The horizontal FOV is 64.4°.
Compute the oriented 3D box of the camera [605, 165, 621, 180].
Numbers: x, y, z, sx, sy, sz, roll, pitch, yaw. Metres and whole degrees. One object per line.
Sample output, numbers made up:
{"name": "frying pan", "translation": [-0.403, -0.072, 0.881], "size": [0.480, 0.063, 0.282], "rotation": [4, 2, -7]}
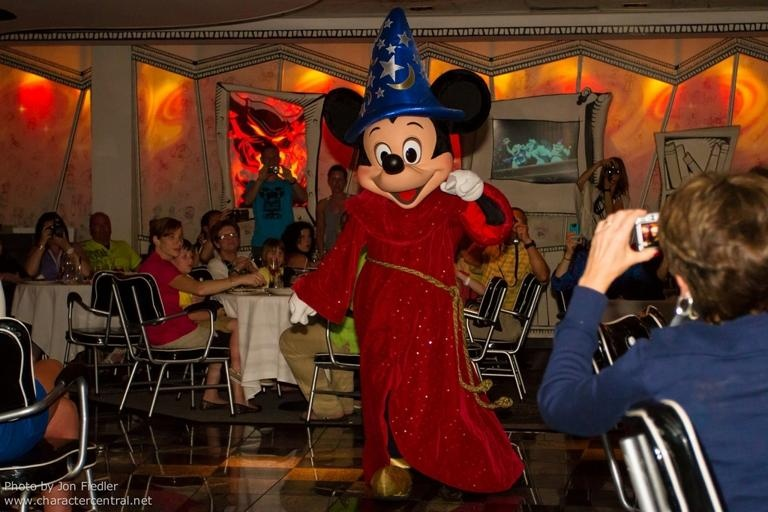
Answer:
{"name": "camera", "translation": [2.700, -0.999, 7.203], "size": [0.144, 0.146, 0.054], "rotation": [-1, 34, 11]}

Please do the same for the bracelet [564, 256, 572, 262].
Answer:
{"name": "bracelet", "translation": [1.365, 0.025, 4.484], "size": [0.048, 0.036, 0.049], "rotation": [0, 1, -1]}

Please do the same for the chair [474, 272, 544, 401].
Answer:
{"name": "chair", "translation": [0.936, 0.630, 5.000], "size": [0.631, 0.914, 0.636], "rotation": [0, 9, -3]}

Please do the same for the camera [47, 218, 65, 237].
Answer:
{"name": "camera", "translation": [-3.066, -0.280, 5.677], "size": [0.171, 0.175, 0.063], "rotation": [0, -12, 3]}

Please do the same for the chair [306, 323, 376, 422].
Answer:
{"name": "chair", "translation": [-0.407, 0.728, 4.189], "size": [0.407, 0.746, 0.468], "rotation": [-10, -15, 41]}

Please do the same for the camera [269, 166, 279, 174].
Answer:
{"name": "camera", "translation": [-1.349, -1.046, 7.381], "size": [0.094, 0.068, 0.096], "rotation": [2, 4, 11]}

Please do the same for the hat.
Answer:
{"name": "hat", "translation": [0.109, -0.912, 3.368], "size": [0.655, 0.643, 0.598], "rotation": [-2, -1, -1]}

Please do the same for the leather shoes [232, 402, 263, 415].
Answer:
{"name": "leather shoes", "translation": [-1.045, 1.166, 4.634], "size": [0.146, 0.058, 0.082], "rotation": [-2, 1, -14]}

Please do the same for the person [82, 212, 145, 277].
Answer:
{"name": "person", "translation": [-2.963, -0.129, 6.627], "size": [0.403, 0.614, 0.732], "rotation": [-5, -4, 39]}

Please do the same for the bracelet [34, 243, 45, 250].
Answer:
{"name": "bracelet", "translation": [-3.341, -0.086, 5.866], "size": [0.056, 0.056, 0.015], "rotation": [4, 5, 7]}

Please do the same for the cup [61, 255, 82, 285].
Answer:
{"name": "cup", "translation": [-2.927, 0.123, 5.646], "size": [0.191, 0.273, 0.097], "rotation": [-12, -10, 2]}

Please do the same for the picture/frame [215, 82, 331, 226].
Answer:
{"name": "picture/frame", "translation": [-1.350, -1.275, 7.519], "size": [1.833, 2.170, 0.215], "rotation": [2, 6, 0]}

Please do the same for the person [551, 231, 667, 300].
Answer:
{"name": "person", "translation": [1.660, 0.156, 4.477], "size": [0.865, 0.328, 0.644], "rotation": [-1, 0, 3]}

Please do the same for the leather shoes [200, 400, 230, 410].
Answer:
{"name": "leather shoes", "translation": [-1.324, 1.156, 4.767], "size": [0.229, 0.091, 0.075], "rotation": [-6, -3, -14]}

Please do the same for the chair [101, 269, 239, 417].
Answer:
{"name": "chair", "translation": [-1.648, 0.696, 4.694], "size": [0.930, 0.993, 0.915], "rotation": [-2, -9, 0]}

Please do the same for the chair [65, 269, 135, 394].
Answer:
{"name": "chair", "translation": [-2.587, 0.575, 5.064], "size": [0.568, 0.814, 0.598], "rotation": [10, 0, 23]}

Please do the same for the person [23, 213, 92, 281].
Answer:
{"name": "person", "translation": [-3.272, 0.036, 6.012], "size": [0.603, 0.868, 0.513], "rotation": [-13, -9, 40]}

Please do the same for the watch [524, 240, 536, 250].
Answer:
{"name": "watch", "translation": [1.190, -0.090, 4.968], "size": [0.097, 0.065, 0.092], "rotation": [-8, -13, 11]}
